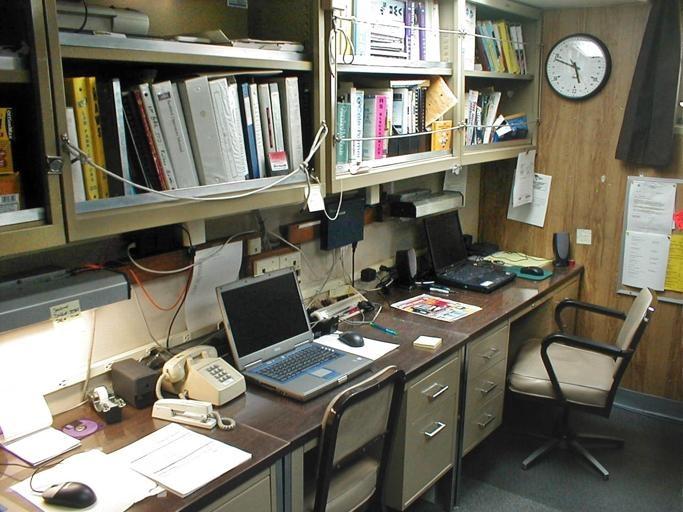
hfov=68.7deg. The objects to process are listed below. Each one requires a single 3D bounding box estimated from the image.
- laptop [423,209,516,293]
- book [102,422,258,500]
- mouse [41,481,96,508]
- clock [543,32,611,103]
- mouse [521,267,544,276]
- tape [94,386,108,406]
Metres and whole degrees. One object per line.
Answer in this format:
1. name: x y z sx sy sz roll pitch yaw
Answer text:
1. laptop: 0.729 -0.021 3.328 0.579 0.526 0.783 11 18 37
2. book: -0.507 0.639 1.584 0.383 0.025 0.236 9 23 32
3. mouse: -0.757 0.665 1.386 0.117 0.041 0.070 7 10 -1
4. clock: 1.578 -1.277 3.367 0.430 0.467 0.057 21 56 39
5. mouse: 1.243 0.081 3.240 0.063 0.037 0.110 -10 17 -38
6. tape: -0.864 0.510 1.821 0.046 0.017 0.058 -9 40 -37
